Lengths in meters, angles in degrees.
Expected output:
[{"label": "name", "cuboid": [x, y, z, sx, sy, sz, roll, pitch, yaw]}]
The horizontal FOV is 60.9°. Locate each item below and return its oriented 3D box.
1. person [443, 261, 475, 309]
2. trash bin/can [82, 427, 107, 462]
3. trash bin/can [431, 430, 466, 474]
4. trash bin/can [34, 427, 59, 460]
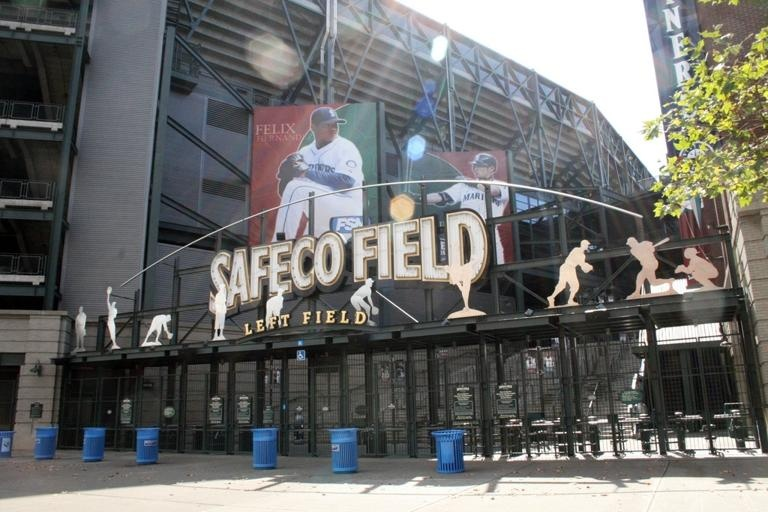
[{"label": "person", "cuboid": [3.579, 1.394, 29.939, 0.875, 2.340, 1.217, 7, -21, -27]}, {"label": "trash bin/can", "cuboid": [-13.465, 8.757, 30.345, 0.836, 1.563, 0.968, 2, -20, -16]}, {"label": "trash bin/can", "cuboid": [2.611, 7.296, 24.645, 1.490, 1.322, 1.442, -1, -6, 13]}, {"label": "trash bin/can", "cuboid": [-16.204, 8.943, 31.277, 0.840, 1.560, 0.859, 7, -21, -27]}]
